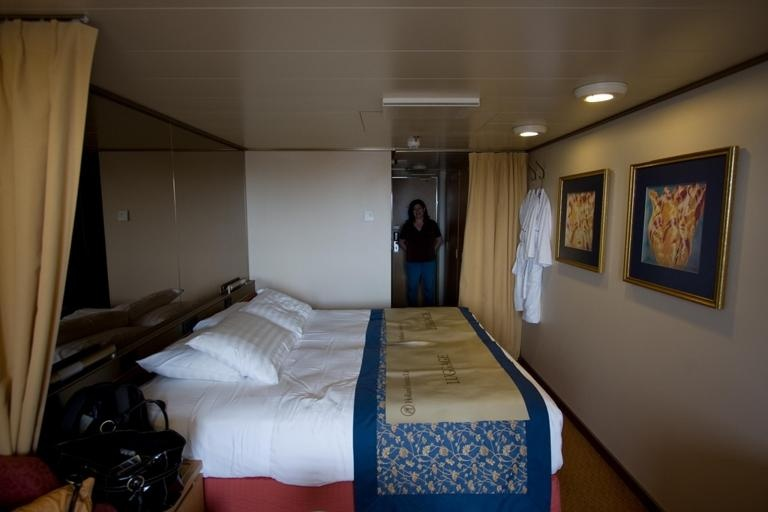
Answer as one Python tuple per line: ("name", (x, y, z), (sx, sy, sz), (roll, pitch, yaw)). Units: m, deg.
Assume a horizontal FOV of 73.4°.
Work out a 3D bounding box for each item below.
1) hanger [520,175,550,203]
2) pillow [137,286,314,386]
("hanger", (1.504, -0.671, 5.131), (0.041, 0.350, 0.306), (-7, 9, -44))
("pillow", (-0.980, 0.605, 3.804), (0.484, 0.147, 0.809), (24, 19, 5))
